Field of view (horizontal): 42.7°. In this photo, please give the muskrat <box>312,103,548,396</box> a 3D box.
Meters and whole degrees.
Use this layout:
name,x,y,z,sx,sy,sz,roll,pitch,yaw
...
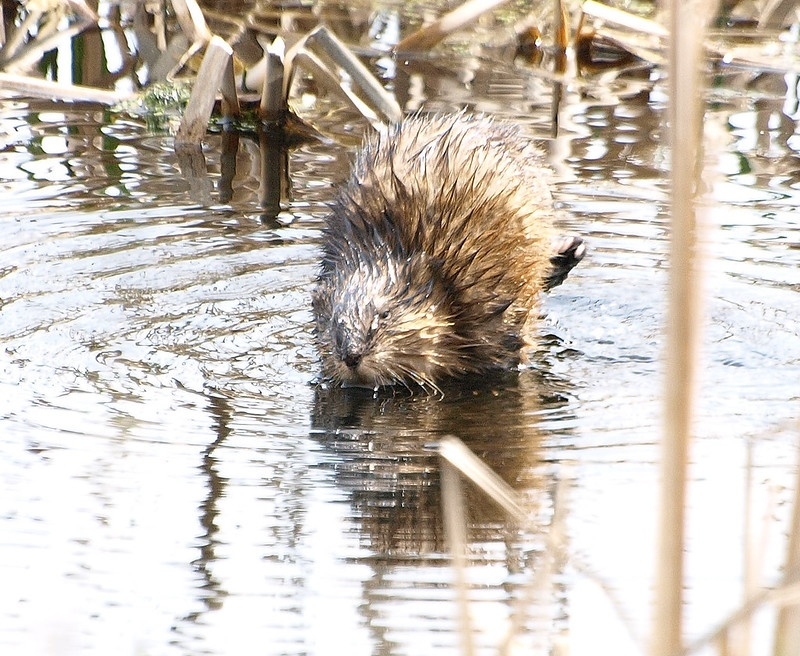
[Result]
name,x,y,z,sx,sy,sz,roll,pitch,yaw
muskrat,0.153,-0.437,5.267,1.088,1.412,1.420,6,9,19
